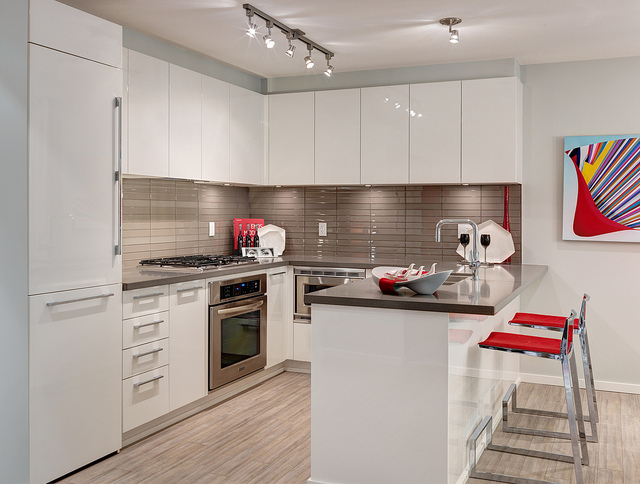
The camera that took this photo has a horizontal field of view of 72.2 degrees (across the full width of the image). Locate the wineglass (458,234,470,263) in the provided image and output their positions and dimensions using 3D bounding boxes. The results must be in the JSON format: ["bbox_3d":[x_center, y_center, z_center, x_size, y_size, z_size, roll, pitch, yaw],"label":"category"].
[{"bbox_3d":[1.381,0.068,4.204,0.106,0.301,0.534,1,4,17],"label":"wineglass"}]

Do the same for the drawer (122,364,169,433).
[{"bbox_3d":[-1.370,1.163,3.247,0.317,0.403,0.427,-2,-1,25],"label":"drawer"}]

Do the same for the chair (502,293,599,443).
[{"bbox_3d":[1.701,1.036,3.377,0.623,0.973,0.513,1,15,38],"label":"chair"}]

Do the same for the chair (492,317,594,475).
[{"bbox_3d":[1.354,0.976,2.807,0.600,1.021,0.575,0,-1,27],"label":"chair"}]

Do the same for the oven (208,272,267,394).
[{"bbox_3d":[-0.930,0.816,4.121,0.624,0.982,0.735,3,5,33],"label":"oven"}]

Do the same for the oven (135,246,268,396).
[{"bbox_3d":[-1.003,0.738,4.141,0.827,1.103,0.911,3,5,18],"label":"oven"}]

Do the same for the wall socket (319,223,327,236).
[{"bbox_3d":[0.036,-0.140,5.015,0.090,0.144,0.015,1,5,12],"label":"wall socket"}]

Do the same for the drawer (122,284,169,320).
[{"bbox_3d":[-1.246,0.432,3.301,0.352,0.172,0.280,-13,-5,-14],"label":"drawer"}]

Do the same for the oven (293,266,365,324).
[{"bbox_3d":[0.087,0.547,4.615,0.710,0.655,0.374,3,12,2],"label":"oven"}]

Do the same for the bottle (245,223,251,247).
[{"bbox_3d":[-0.802,-0.078,4.906,0.059,0.257,0.095,0,4,2],"label":"bottle"}]
